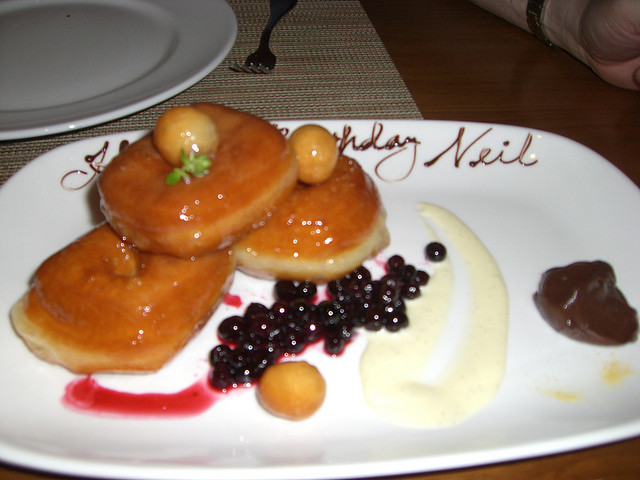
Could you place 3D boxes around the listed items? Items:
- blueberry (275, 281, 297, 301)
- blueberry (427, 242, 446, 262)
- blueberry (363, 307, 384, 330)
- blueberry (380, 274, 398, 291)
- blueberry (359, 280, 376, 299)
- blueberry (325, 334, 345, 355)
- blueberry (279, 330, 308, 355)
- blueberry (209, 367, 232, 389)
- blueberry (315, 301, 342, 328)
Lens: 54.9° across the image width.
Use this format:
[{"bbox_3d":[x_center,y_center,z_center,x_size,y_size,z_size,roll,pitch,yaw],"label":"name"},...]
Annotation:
[{"bbox_3d":[-0.111,0.166,1.966,0.067,0.025,0.070,-18,68,-6],"label":"blueberry"},{"bbox_3d":[0.390,0.042,2.079,0.065,0.034,0.062,6,68,4],"label":"blueberry"},{"bbox_3d":[0.161,0.246,1.922,0.059,0.032,0.064,-4,68,0],"label":"blueberry"},{"bbox_3d":[0.218,0.132,1.958,0.049,0.015,0.045,-9,42,-3],"label":"blueberry"},{"bbox_3d":[0.151,0.161,1.955,0.049,0.017,0.055,-8,75,-4],"label":"blueberry"},{"bbox_3d":[0.041,0.322,1.890,0.058,0.035,0.057,2,68,2],"label":"blueberry"},{"bbox_3d":[-0.087,0.320,1.884,0.084,0.049,0.061,-28,70,-9],"label":"blueberry"},{"bbox_3d":[-0.299,0.412,1.830,0.070,0.045,0.063,-5,68,0],"label":"blueberry"},{"bbox_3d":[0.023,0.237,1.917,0.079,0.027,0.076,27,71,12],"label":"blueberry"}]
